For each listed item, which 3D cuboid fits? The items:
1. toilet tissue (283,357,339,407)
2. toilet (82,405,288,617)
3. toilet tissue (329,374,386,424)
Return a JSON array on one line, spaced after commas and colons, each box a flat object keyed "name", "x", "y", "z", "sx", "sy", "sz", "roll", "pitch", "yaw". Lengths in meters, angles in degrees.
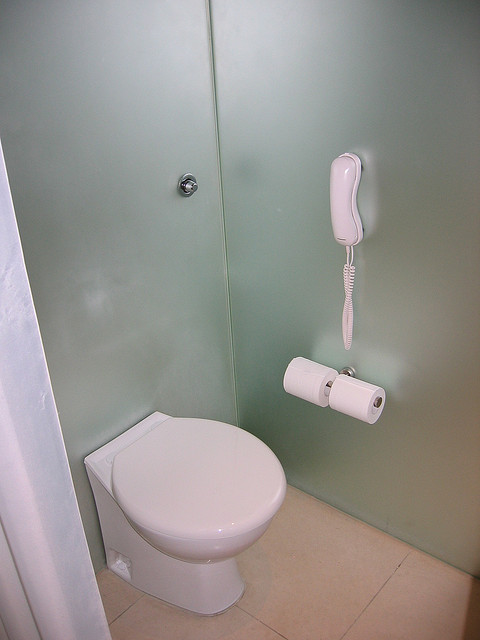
[{"name": "toilet tissue", "x": 0.200, "y": 0.176, "z": 1.530, "sx": 0.122, "sy": 0.115, "sz": 0.104, "roll": 15, "pitch": 14, "yaw": 34}, {"name": "toilet", "x": -0.140, "y": 0.516, "z": 1.375, "sx": 0.475, "sy": 0.392, "sz": 0.372, "roll": 15, "pitch": 29, "yaw": 28}, {"name": "toilet tissue", "x": 0.311, "y": 0.205, "z": 1.431, "sx": 0.124, "sy": 0.107, "sz": 0.105, "roll": 10, "pitch": 22, "yaw": 37}]
